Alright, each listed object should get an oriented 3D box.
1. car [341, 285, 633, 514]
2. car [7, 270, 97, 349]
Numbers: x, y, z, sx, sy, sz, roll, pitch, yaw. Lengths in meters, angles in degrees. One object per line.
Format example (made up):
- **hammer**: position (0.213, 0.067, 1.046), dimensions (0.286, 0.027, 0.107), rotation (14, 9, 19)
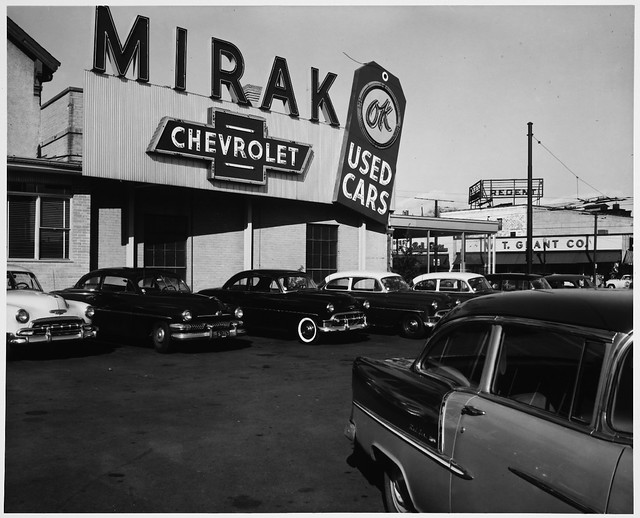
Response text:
- **car**: position (1.218, 0.952, 3.952), dimensions (1.047, 1.085, 1.889), rotation (2, -5, -37)
- **car**: position (-4.961, 0.851, 10.321), dimensions (1.355, 1.259, 1.490), rotation (1, 1, 15)
